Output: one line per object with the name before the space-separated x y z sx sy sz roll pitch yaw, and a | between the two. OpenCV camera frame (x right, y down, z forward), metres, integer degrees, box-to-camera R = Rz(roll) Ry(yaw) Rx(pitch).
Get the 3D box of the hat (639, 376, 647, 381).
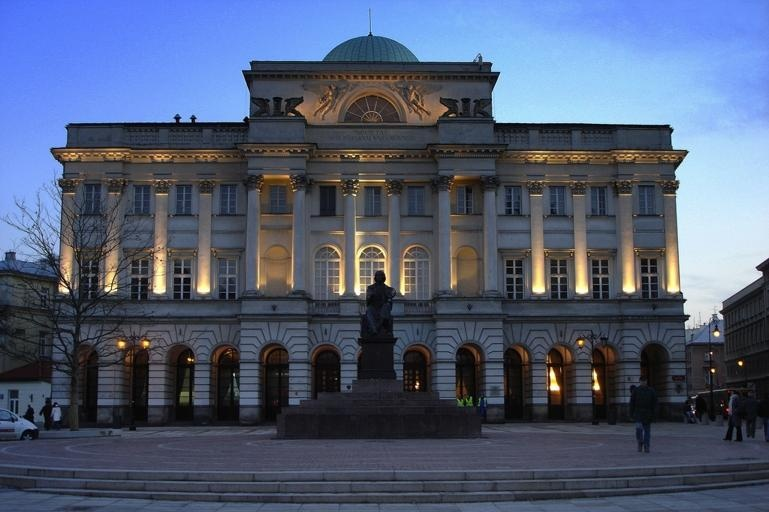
hat | 12.869 6.125 59.445 0.324 0.214 0.452 -3 -24 13
